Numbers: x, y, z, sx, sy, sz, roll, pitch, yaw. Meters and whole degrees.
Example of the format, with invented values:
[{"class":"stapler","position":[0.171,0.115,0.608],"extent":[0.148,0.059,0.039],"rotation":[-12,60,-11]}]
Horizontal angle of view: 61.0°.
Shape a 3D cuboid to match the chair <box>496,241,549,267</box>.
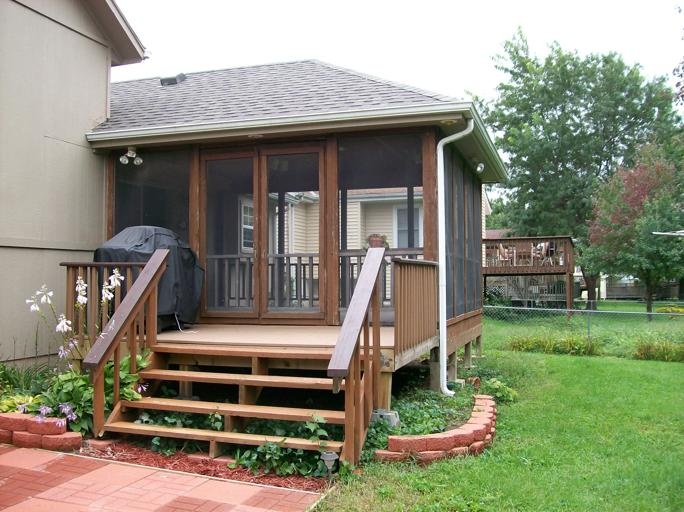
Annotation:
[{"class":"chair","position":[5.978,-0.046,19.164],"extent":[1.640,0.823,0.650],"rotation":[-4,-1,16]}]
